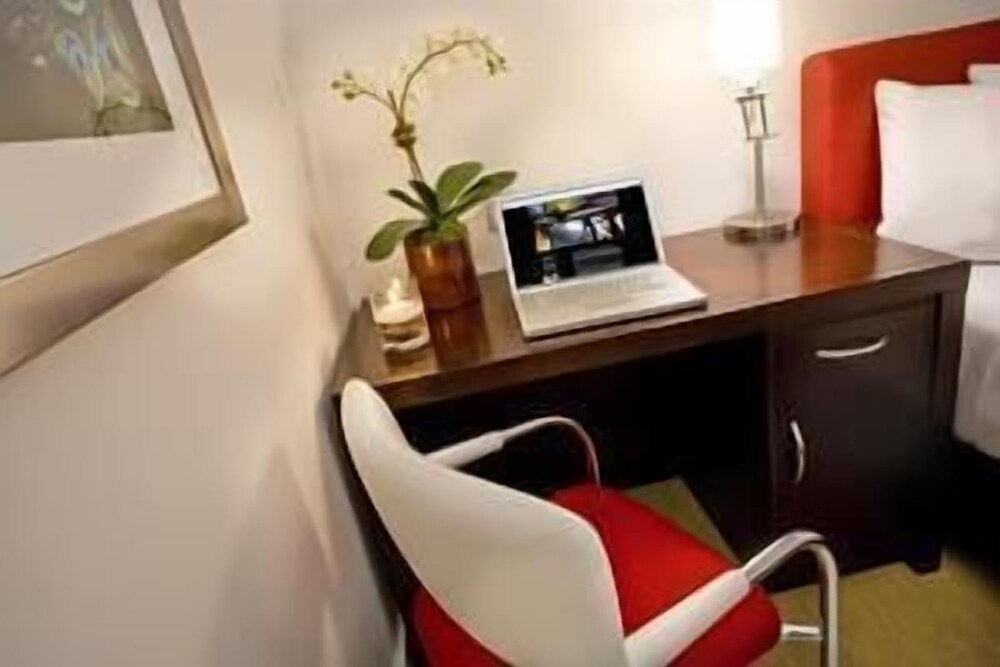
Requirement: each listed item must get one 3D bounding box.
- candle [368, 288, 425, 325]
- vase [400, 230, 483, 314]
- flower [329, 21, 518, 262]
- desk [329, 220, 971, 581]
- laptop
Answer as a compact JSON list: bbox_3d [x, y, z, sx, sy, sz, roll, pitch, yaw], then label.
[{"bbox_3d":[-0.238,-0.060,1.502,0.086,0.061,0.084,-18,29,-28],"label":"candle"},{"bbox_3d":[-0.149,-0.184,1.815,0.195,0.220,0.195,-29,30,-31],"label":"vase"},{"bbox_3d":[-0.221,-0.565,1.820,0.453,0.531,0.455,13,35,30],"label":"flower"},{"bbox_3d":[0.406,0.265,1.871,1.398,0.875,0.777,-10,22,3],"label":"desk"},{"bbox_3d":[0.216,-0.296,1.505,0.499,0.308,0.434,-15,35,-7],"label":"laptop"}]
